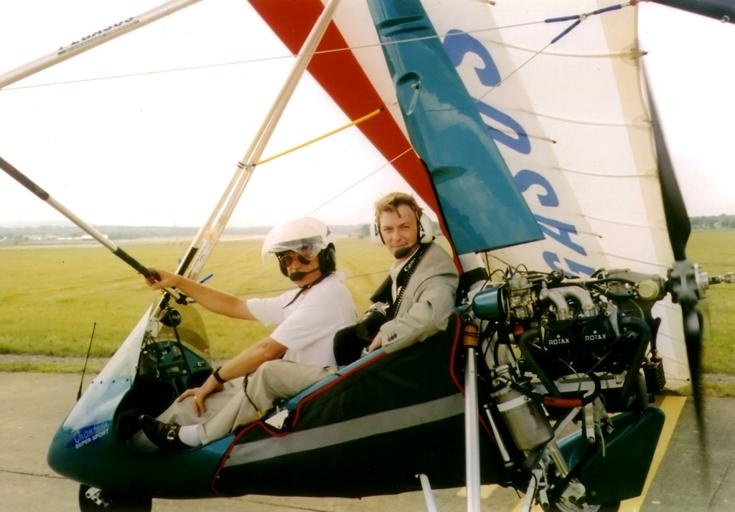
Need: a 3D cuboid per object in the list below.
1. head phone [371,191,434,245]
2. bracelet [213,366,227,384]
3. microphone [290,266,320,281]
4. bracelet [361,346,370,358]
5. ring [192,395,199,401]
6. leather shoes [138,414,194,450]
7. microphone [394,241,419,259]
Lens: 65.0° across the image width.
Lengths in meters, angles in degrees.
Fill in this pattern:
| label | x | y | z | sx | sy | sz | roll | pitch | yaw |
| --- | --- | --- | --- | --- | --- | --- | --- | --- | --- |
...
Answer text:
| label | x | y | z | sx | sy | sz | roll | pitch | yaw |
| --- | --- | --- | --- | --- | --- | --- | --- | --- | --- |
| head phone | 0.236 | -0.264 | 4.416 | 0.453 | 0.394 | 0.188 | -9 | 7 | 10 |
| bracelet | -1.116 | 0.895 | 4.365 | 0.102 | 0.115 | 0.059 | 0 | -4 | -3 |
| microphone | -0.492 | 0.126 | 4.377 | 0.149 | 0.044 | 0.107 | -25 | 7 | -32 |
| bracelet | -0.030 | 0.714 | 4.312 | 0.074 | 0.067 | 0.058 | 10 | -11 | -15 |
| ring | -1.293 | 1.063 | 4.344 | 0.030 | 0.028 | 0.026 | -1 | 1 | -25 |
| leather shoes | -1.446 | 1.290 | 4.218 | 0.478 | 0.170 | 0.165 | 17 | -23 | -9 |
| microphone | 0.295 | -0.031 | 4.381 | 0.143 | 0.073 | 0.108 | -20 | -5 | -32 |
